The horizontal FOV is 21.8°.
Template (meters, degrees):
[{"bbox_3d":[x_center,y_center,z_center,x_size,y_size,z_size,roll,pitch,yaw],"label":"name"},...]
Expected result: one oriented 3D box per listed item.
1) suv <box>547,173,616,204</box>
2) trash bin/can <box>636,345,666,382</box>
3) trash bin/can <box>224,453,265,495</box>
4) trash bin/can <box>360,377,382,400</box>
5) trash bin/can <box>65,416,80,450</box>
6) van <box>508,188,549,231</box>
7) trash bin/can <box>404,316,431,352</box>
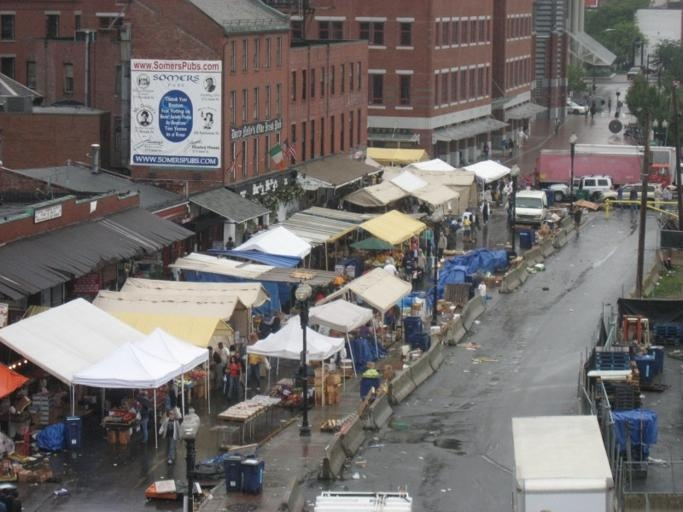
[{"bbox_3d":[15.795,-4.433,115.598,3.563,1.921,3.109,0,10,30],"label":"suv"},{"bbox_3d":[13.658,4.650,78.884,0.652,1.460,2.078,-1,3,28],"label":"trash bin/can"},{"bbox_3d":[-3.635,8.344,68.794,1.332,1.337,1.402,0,1,19],"label":"trash bin/can"},{"bbox_3d":[1.386,5.537,76.295,0.775,1.606,0.819,1,-1,8],"label":"trash bin/can"},{"bbox_3d":[-10.673,6.945,71.447,0.606,1.286,0.330,-3,3,-22],"label":"trash bin/can"},{"bbox_3d":[11.308,-3.122,106.010,1.650,1.782,3.043,1,4,11],"label":"van"},{"bbox_3d":[3.573,3.365,82.485,0.891,1.236,1.632,-1,0,7],"label":"trash bin/can"}]
